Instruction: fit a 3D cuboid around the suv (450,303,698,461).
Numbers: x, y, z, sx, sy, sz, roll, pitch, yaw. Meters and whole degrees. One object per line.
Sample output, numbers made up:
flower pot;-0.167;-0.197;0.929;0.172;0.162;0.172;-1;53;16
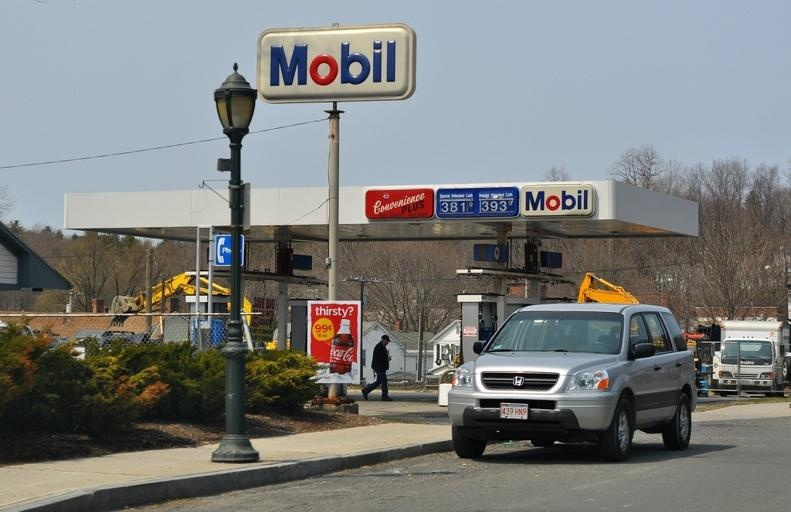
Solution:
suv;4.693;2.873;32.111;2.811;2.688;5.560;-5;-12;26

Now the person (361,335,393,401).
person;-0.580;3.760;46.253;1.189;2.340;0.761;0;-2;3

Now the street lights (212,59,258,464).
street lights;-3.549;0.104;29.917;0.889;8.783;0.474;1;-5;-9
